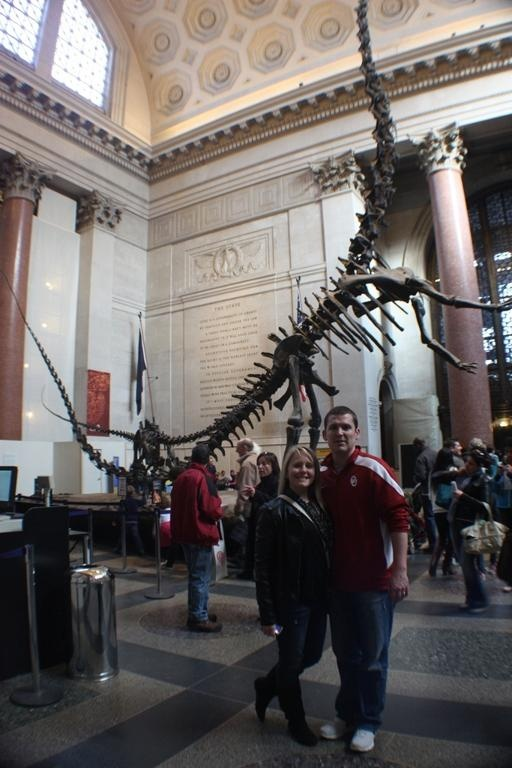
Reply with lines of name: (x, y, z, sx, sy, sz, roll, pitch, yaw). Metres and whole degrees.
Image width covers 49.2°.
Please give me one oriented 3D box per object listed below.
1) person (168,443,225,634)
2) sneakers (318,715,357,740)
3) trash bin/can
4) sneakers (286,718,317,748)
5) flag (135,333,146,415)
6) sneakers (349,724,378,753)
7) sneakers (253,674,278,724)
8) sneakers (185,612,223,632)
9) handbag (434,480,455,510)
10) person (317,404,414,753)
person: (-0.445, 1.110, 4.088, 0.352, 1.293, 0.344, 0, -9, -10)
sneakers: (0.340, 1.449, 2.345, 0.152, 0.068, 0.056, 10, -24, -6)
trash bin/can: (-0.942, 1.376, 3.250, 0.375, 0.565, 0.245, -8, -11, 37)
sneakers: (0.190, 1.432, 2.290, 0.130, 0.135, 0.062, -9, -13, 24)
flag: (-2.947, -0.344, 14.155, 0.224, 2.258, 0.772, 1, -9, -14)
sneakers: (0.443, 1.418, 2.243, 0.070, 0.069, 0.160, -9, -11, 42)
sneakers: (0.052, 1.364, 2.418, 0.079, 0.114, 0.257, 1, -8, 10)
sneakers: (-0.365, 1.689, 3.926, 0.234, 0.098, 0.124, 0, -8, -7)
handbag: (1.749, 1.028, 5.156, 0.145, 0.293, 0.281, 13, -7, 22)
person: (0.467, 0.784, 2.430, 0.412, 1.386, 0.337, -4, -9, 20)
